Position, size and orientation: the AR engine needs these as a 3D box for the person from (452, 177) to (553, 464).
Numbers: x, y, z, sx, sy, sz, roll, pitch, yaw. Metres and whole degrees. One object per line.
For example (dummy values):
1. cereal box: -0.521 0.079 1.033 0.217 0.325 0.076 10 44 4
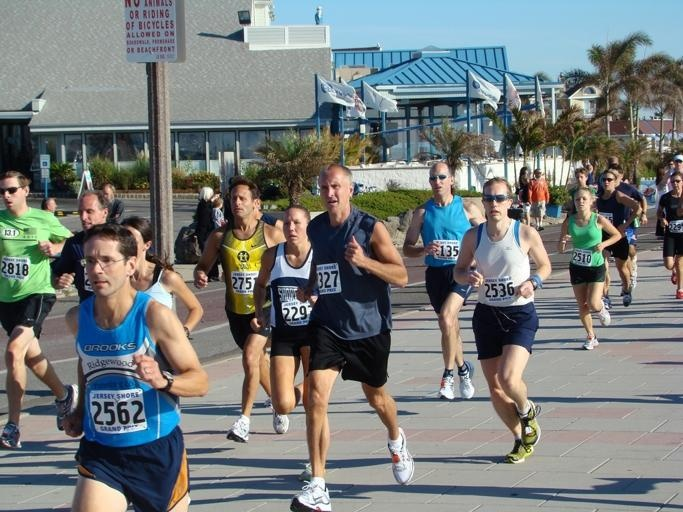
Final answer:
1. person: 1.579 0.588 10.356 0.744 2.571 0.936 -4 8 -16

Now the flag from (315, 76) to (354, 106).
1. flag: -0.222 -5.344 35.855 1.146 0.992 0.662 6 37 5

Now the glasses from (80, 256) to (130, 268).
1. glasses: -1.796 0.047 8.082 0.359 0.086 0.136 -1 9 12

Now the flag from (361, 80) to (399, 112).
1. flag: 1.161 -5.239 35.961 1.164 0.959 0.888 0 8 18

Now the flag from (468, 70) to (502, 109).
1. flag: 4.981 -5.839 38.132 1.096 1.333 1.890 -1 8 8

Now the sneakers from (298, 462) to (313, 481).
1. sneakers: -0.332 2.016 10.027 0.087 0.126 0.275 -2 -8 7

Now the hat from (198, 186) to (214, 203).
1. hat: -2.644 -1.175 20.990 0.210 0.300 0.300 -1 -14 0
